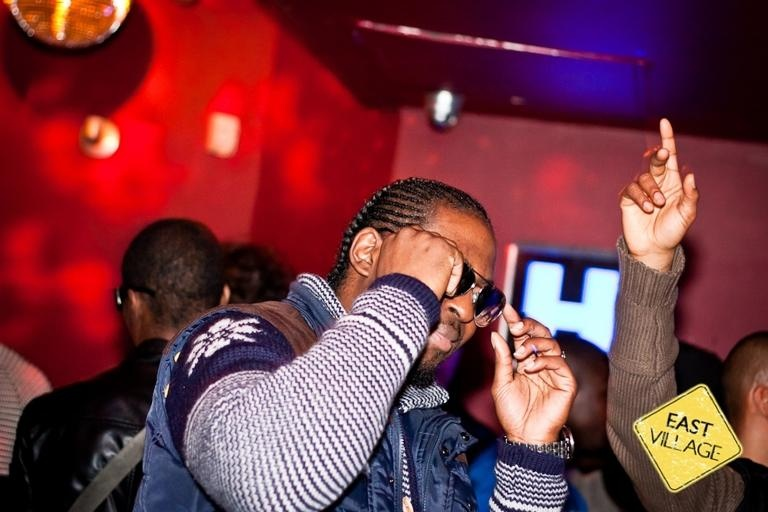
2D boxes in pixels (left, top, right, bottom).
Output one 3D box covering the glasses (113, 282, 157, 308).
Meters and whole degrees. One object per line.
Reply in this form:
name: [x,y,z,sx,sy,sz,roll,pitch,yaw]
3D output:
glasses: [-1.338,0.197,3.781,0.143,0.063,0.155,8,-13,7]
